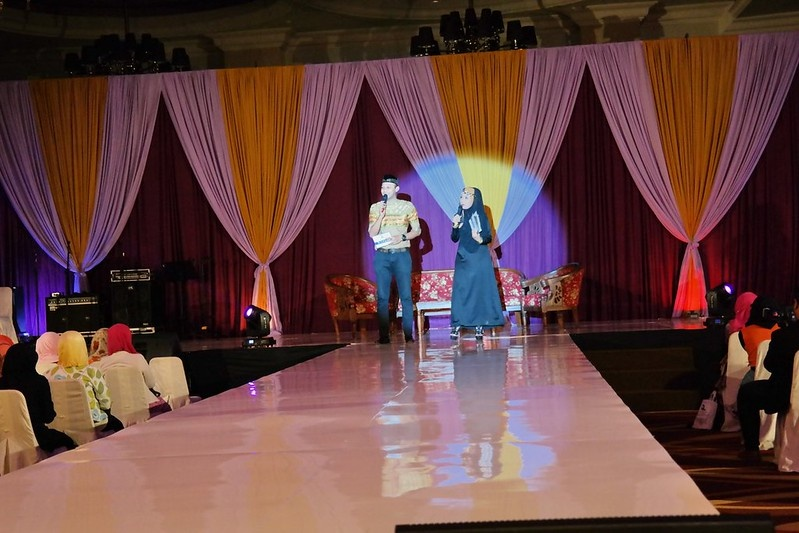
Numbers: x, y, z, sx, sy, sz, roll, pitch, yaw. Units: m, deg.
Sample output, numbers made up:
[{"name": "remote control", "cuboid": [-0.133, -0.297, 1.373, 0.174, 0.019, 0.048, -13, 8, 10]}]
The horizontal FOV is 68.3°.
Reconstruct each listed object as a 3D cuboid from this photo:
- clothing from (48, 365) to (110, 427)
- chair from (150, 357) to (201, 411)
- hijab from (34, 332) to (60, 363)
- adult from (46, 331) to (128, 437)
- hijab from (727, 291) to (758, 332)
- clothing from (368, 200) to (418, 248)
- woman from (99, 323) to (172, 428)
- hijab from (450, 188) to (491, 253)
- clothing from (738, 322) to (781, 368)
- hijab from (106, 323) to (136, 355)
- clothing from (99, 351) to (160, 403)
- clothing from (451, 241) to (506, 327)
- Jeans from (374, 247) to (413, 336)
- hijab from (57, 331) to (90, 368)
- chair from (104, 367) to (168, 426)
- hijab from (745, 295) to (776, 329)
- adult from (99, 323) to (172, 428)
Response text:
[{"name": "clothing", "cuboid": [-2.215, 0.868, 3.990, 0.389, 0.454, 0.232, 9, -12, -40]}, {"name": "chair", "cuboid": [-1.769, 0.968, 4.642, 0.381, 0.469, 0.352, 6, -2, 0]}, {"name": "hijab", "cuboid": [-2.954, 0.685, 4.908, 0.151, 0.211, 0.110, -3, -17, -43]}, {"name": "adult", "cuboid": [-2.064, 0.763, 4.198, 0.466, 0.699, 0.386, -23, 8, -37]}, {"name": "hijab", "cuboid": [3.049, 0.319, 5.164, 0.164, 0.335, 0.238, 8, 53, 29]}, {"name": "clothing", "cuboid": [-0.025, -0.433, 6.479, 0.597, 0.631, 0.486, -1, -8, 17]}, {"name": "woman", "cuboid": [-2.121, 0.795, 4.514, 0.505, 0.725, 0.520, -2, 7, 18]}, {"name": "hijab", "cuboid": [0.712, -0.349, 5.870, 0.347, 0.874, 0.235, -7, -16, 27]}, {"name": "clothing", "cuboid": [2.723, 0.553, 4.471, 0.259, 0.215, 0.141, -45, 29, -21]}, {"name": "hijab", "cuboid": [-2.249, 0.573, 4.833, 0.268, 0.273, 0.276, -4, -1, 33]}, {"name": "clothing", "cuboid": [-1.957, 0.806, 4.223, 0.271, 0.336, 0.172, -9, 2, -3]}, {"name": "clothing", "cuboid": [0.755, 0.186, 5.847, 0.500, 0.894, 0.290, 0, 33, 16]}, {"name": "Jeans", "cuboid": [-0.050, 0.307, 6.454, 0.403, 1.007, 0.463, -3, 6, -2]}, {"name": "hijab", "cuboid": [-2.344, 0.560, 4.181, 0.209, 0.258, 0.237, -17, 11, -32]}, {"name": "chair", "cuboid": [-1.850, 0.900, 4.053, 0.303, 0.542, 0.376, -3, -3, 3]}, {"name": "hijab", "cuboid": [2.776, 0.358, 4.498, 0.163, 0.230, 0.227, -1, -28, -3]}, {"name": "adult", "cuboid": [-2.125, 0.794, 4.520, 0.508, 0.730, 0.528, -3, 6, 14]}]
